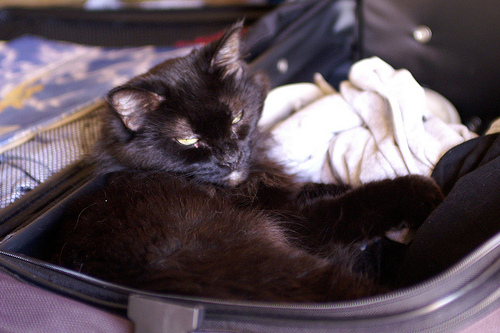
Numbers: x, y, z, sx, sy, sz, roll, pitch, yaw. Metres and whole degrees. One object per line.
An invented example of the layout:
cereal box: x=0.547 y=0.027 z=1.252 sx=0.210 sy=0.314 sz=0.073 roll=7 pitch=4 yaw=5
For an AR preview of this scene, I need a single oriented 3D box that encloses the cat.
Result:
cat: x=-0.098 y=0.000 z=2.179 sx=1.408 sy=0.590 sz=0.956 roll=8 pitch=31 yaw=29
